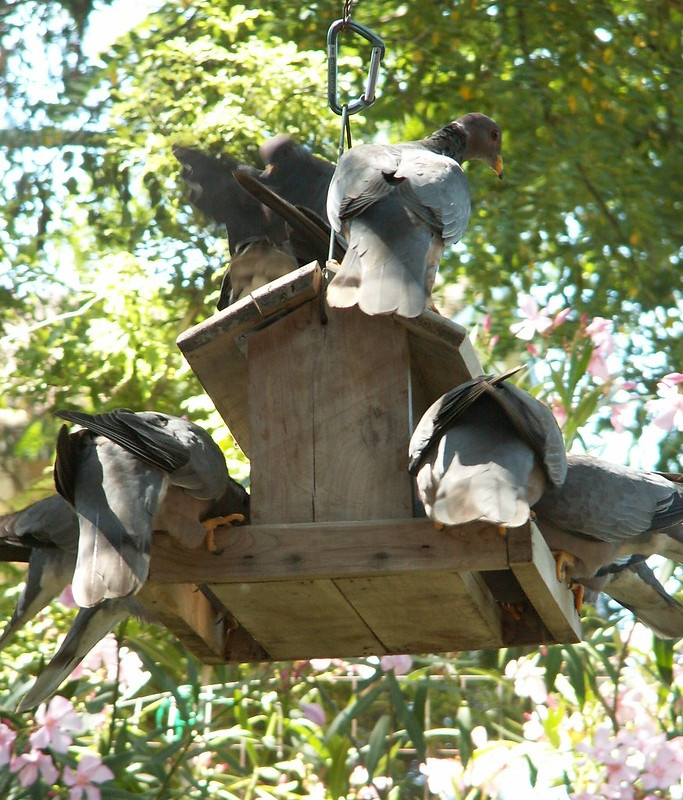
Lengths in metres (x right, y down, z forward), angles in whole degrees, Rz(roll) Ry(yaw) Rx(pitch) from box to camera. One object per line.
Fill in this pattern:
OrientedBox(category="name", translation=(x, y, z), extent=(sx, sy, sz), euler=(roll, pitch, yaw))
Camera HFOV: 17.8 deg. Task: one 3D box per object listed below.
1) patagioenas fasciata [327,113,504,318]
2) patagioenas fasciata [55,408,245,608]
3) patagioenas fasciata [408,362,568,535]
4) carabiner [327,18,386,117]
OrientedBox(category="patagioenas fasciata", translation=(0.204, -0.640, 7.901), extent=(0.677, 0.788, 0.818), euler=(0, 6, -1))
OrientedBox(category="patagioenas fasciata", translation=(-0.693, 0.371, 7.518), extent=(0.719, 0.735, 0.308), euler=(10, -35, -25))
OrientedBox(category="patagioenas fasciata", translation=(0.497, 0.187, 7.463), extent=(0.391, 0.691, 0.289), euler=(-1, -46, 11))
OrientedBox(category="carabiner", translation=(0.041, -1.248, 8.118), extent=(0.239, 0.070, 0.377), euler=(-8, -61, -24))
